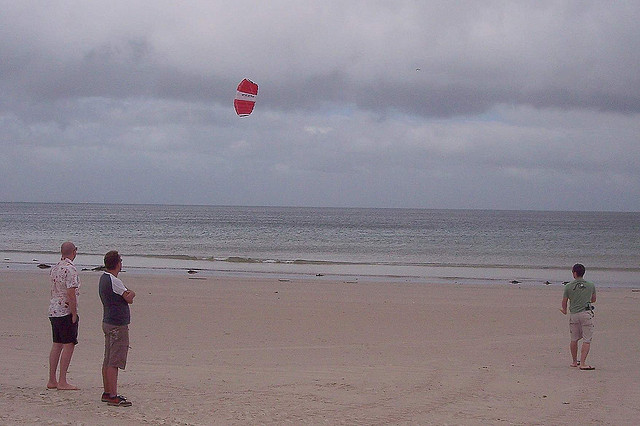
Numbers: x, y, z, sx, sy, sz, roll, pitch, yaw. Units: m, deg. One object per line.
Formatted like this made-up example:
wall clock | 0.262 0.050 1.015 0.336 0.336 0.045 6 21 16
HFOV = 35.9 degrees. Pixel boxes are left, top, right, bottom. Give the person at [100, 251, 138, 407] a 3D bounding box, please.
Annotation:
person | -5.439 3.071 26.260 0.824 3.991 1.185 -2 14 -12
